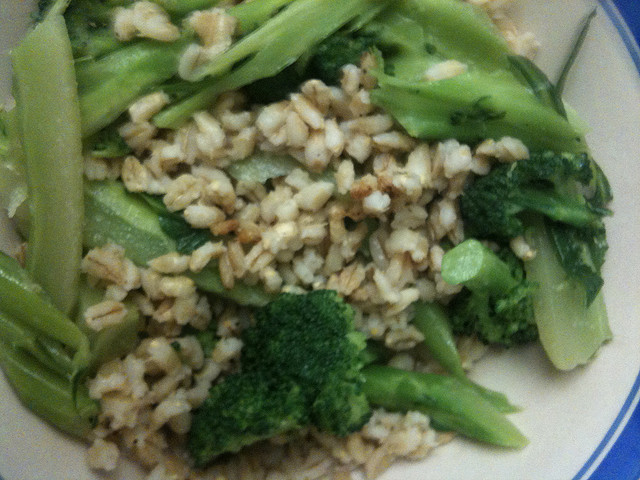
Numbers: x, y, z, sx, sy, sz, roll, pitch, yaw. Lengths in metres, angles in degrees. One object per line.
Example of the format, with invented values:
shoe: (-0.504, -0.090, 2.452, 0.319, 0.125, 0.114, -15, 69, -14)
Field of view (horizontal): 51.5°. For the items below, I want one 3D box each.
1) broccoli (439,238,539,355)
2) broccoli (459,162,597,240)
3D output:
broccoli: (0.589, 0.207, 2.259, 0.312, 0.414, 0.106, 0, 27, 29)
broccoli: (0.689, -0.117, 2.215, 0.378, 0.108, 0.258, 12, 100, 5)
